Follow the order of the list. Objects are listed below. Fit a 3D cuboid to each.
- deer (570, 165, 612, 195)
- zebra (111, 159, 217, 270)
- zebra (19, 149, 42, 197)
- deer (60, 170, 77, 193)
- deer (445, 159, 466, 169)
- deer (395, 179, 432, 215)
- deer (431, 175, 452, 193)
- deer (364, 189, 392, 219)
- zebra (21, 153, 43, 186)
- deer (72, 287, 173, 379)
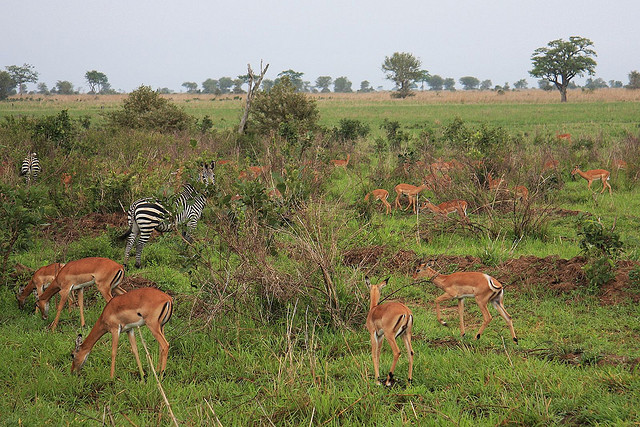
[{"bbox_3d":[8.582,-1.055,19.195,0.800,0.725,1.958,3,8,5],"label":"deer"},{"bbox_3d":[-3.572,-0.023,14.679,0.719,2.421,3.068,14,16,41],"label":"zebra"},{"bbox_3d":[-8.935,-1.282,18.908,0.567,1.043,1.855,-7,10,-29],"label":"zebra"},{"bbox_3d":[-7.358,-0.940,17.961,0.424,0.596,0.424,-9,-36,8],"label":"deer"},{"bbox_3d":[4.308,-1.578,19.330,0.454,0.271,0.777,2,8,0],"label":"deer"},{"bbox_3d":[2.696,-0.577,17.982,1.189,1.015,0.847,7,9,32],"label":"deer"},{"bbox_3d":[3.661,-0.896,18.037,0.458,0.459,0.515,3,8,11],"label":"deer"},{"bbox_3d":[1.696,-0.346,17.691,0.810,0.735,0.786,3,8,5],"label":"deer"},{"bbox_3d":[-8.569,-1.364,18.295,0.603,0.883,2.598,-2,9,-25],"label":"zebra"},{"bbox_3d":[-3.462,2.129,10.710,1.869,1.511,0.525,-6,-6,1],"label":"deer"}]
